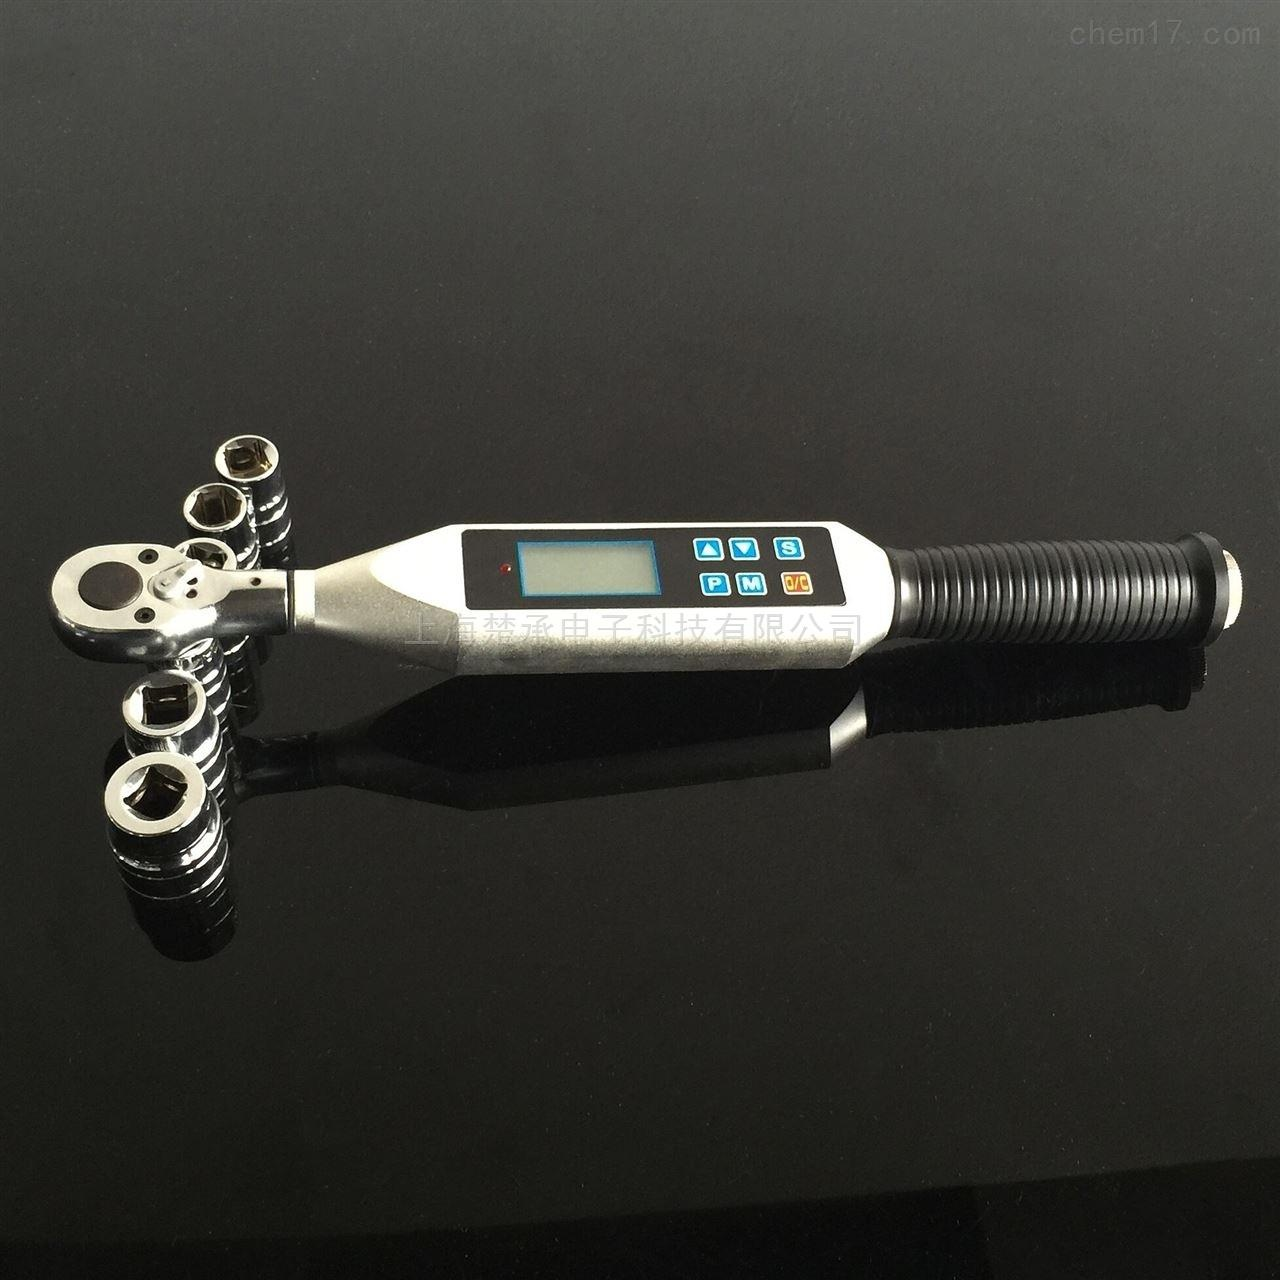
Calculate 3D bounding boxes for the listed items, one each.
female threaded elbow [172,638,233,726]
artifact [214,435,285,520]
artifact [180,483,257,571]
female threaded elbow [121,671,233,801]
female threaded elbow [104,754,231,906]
[{"bbox_3d":[-0.244,0.024,1.030,0.025,0.040,0.025,24,41,31],"label":"female threaded elbow"},{"bbox_3d":[-0.241,-0.108,1.152,0.036,0.053,0.054,-3,50,-9],"label":"artifact"},{"bbox_3d":[-0.250,-0.075,1.109,0.044,0.052,0.049,-1,53,-7],"label":"artifact"},{"bbox_3d":[-0.248,0.044,0.993,0.059,0.060,0.071,-6,35,-15],"label":"female threaded elbow"},{"bbox_3d":[-0.248,0.103,0.970,0.047,0.074,0.053,6,56,-4],"label":"female threaded elbow"}]
